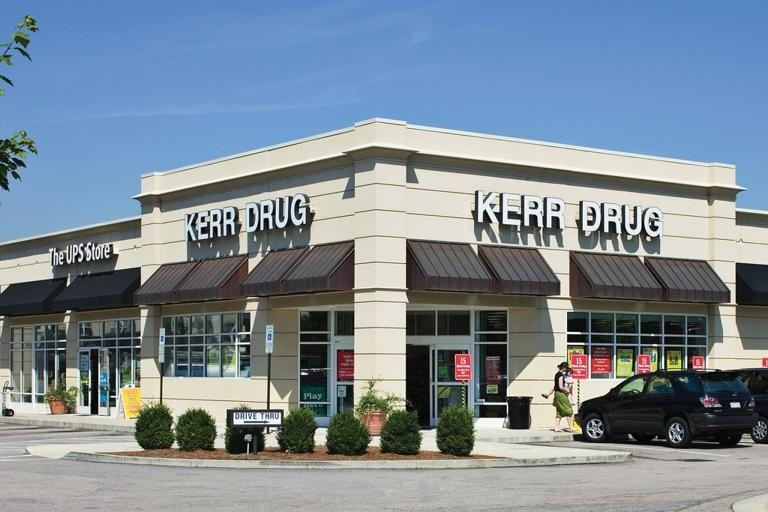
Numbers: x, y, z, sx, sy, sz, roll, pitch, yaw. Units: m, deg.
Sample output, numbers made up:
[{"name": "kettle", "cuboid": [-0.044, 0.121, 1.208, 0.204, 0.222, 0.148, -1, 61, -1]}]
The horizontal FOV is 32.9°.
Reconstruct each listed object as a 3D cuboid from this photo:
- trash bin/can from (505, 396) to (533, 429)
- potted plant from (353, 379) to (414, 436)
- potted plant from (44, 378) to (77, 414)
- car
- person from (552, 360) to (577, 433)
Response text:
[{"name": "trash bin/can", "cuboid": [4.766, 5.705, 47.016, 1.104, 1.173, 1.143, -4, -10, 23]}, {"name": "potted plant", "cuboid": [-0.051, 5.215, 44.703, 1.964, 1.830, 1.787, 0, -1, -18]}, {"name": "potted plant", "cuboid": [-14.362, 6.350, 57.507, 1.353, 1.307, 1.350, -2, -8, 11]}, {"name": "car", "cuboid": [9.154, 4.923, 42.588, 2.589, 1.780, 4.701, 5, -5, -42]}, {"name": "person", "cuboid": [6.403, 5.048, 46.376, 0.824, 2.226, 0.766, -1, -2, 35]}]
